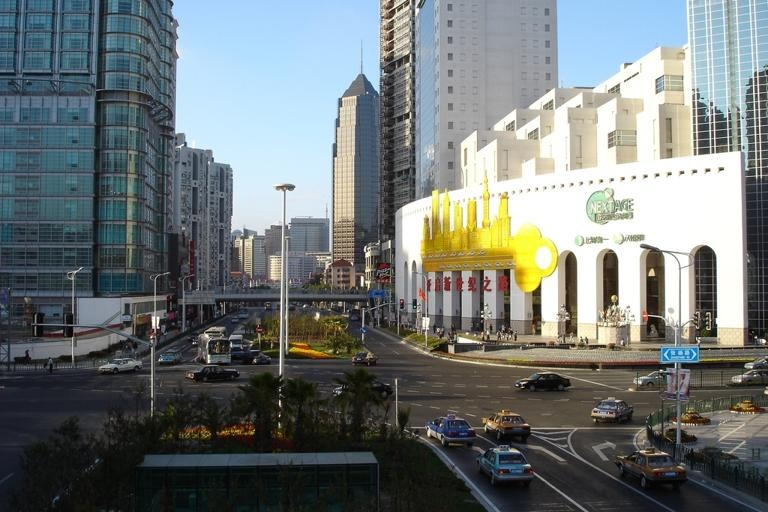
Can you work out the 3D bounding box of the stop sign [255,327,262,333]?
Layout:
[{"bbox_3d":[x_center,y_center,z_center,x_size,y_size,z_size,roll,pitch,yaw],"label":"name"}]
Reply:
[{"bbox_3d":[-19.025,11.080,163.067,1.007,1.284,0.298,0,-12,5],"label":"stop sign"}]

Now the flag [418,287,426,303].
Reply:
[{"bbox_3d":[6.431,6.909,194.225,1.311,1.116,3.373,30,9,-13],"label":"flag"}]
